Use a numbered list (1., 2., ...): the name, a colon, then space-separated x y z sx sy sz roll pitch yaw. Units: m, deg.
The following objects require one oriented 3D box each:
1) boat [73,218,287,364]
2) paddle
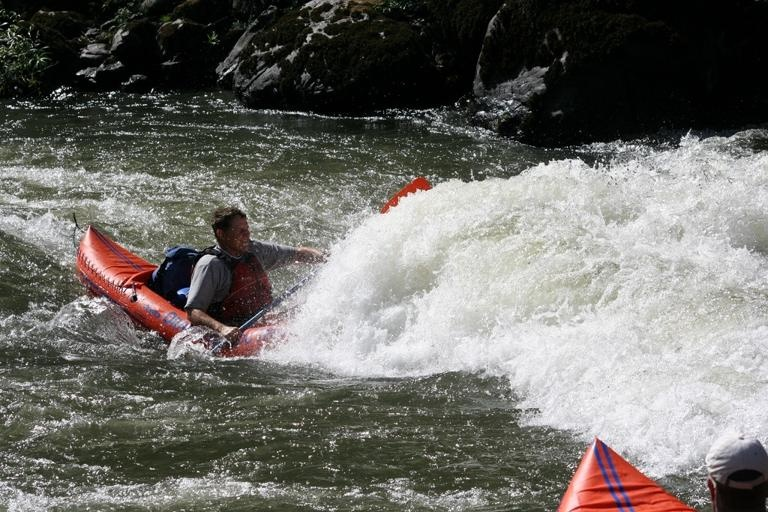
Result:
1. boat: -2.833 0.465 15.309 3.603 0.732 1.199 37 46 29
2. paddle: -0.878 0.195 15.853 3.780 0.417 0.257 -43 24 -23
